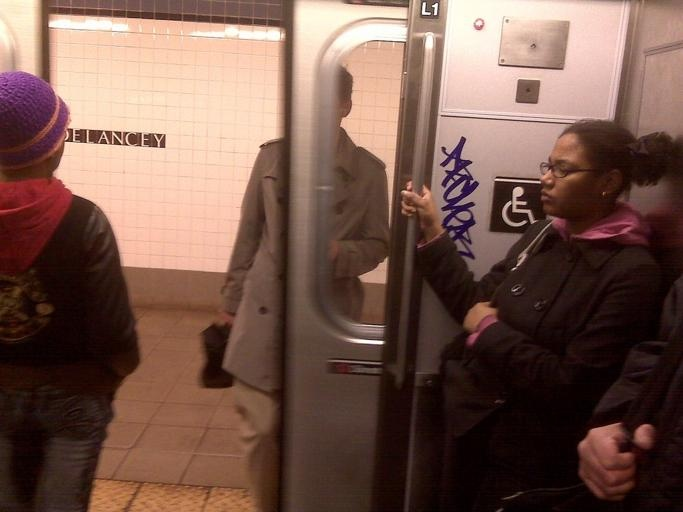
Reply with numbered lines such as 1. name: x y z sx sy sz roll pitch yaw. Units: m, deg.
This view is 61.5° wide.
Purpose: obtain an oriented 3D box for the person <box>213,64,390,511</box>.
1. person: -0.152 0.193 2.194 0.628 1.734 0.341 -5 23 -12
